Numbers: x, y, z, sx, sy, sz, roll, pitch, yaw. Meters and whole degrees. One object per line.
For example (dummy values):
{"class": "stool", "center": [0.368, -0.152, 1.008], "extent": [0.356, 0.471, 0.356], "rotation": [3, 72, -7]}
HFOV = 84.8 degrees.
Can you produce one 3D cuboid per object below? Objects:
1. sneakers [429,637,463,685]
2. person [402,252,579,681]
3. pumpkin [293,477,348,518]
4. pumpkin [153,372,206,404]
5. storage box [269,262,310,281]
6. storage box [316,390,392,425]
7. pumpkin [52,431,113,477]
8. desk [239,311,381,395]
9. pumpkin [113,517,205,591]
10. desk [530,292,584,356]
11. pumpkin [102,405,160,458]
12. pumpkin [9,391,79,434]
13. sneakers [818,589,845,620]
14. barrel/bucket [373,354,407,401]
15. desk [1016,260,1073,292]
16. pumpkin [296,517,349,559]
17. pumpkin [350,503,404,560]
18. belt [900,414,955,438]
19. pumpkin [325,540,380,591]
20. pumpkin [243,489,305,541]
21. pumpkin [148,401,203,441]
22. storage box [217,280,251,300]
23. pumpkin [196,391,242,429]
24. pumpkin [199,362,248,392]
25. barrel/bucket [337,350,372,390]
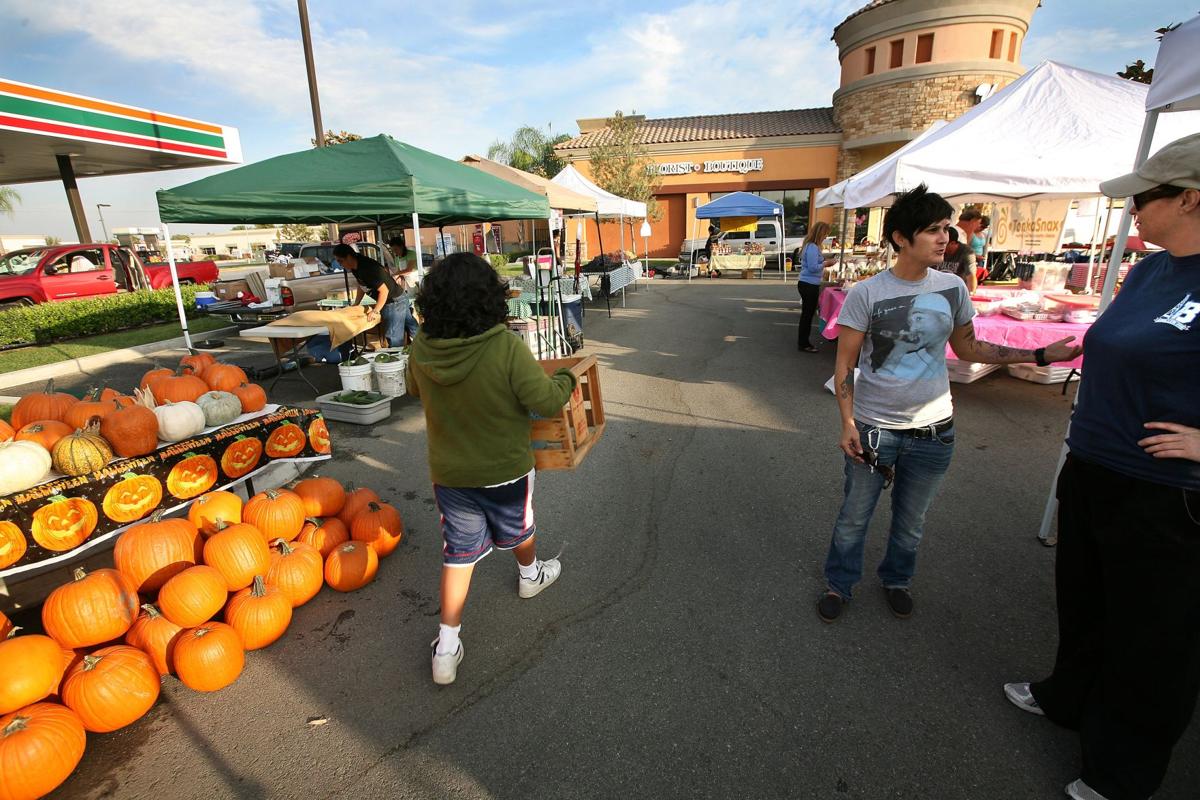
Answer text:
{"class": "sneakers", "center": [-0.942, 1.602, 4.041], "extent": [0.161, 0.113, 0.285], "rotation": [4, 57, -2]}
{"class": "person", "center": [-0.658, 0.431, 3.921], "extent": [0.850, 2.519, 0.669], "rotation": [-4, 20, -7]}
{"class": "pumpkin", "center": [-2.117, 0.721, 5.035], "extent": [0.328, 0.272, 0.311], "rotation": [-2, 13, -7]}
{"class": "pumpkin", "center": [-3.116, -0.078, 4.925], "extent": [0.248, 0.212, 0.240], "rotation": [-17, 7, 11]}
{"class": "storage box", "center": [-7.179, -3.015, 15.356], "extent": [0.970, 0.254, 1.014], "rotation": [12, 21, 25]}
{"class": "storage box", "center": [-2.846, 0.094, 7.624], "extent": [0.768, 0.289, 0.519], "rotation": [-2, 19, -2]}
{"class": "pumpkin", "center": [-3.224, 0.325, 4.236], "extent": [0.306, 0.278, 0.292], "rotation": [-4, 15, 8]}
{"class": "desk", "center": [-3.792, -0.870, 8.808], "extent": [1.274, 0.732, 2.179], "rotation": [8, 20, 12]}
{"class": "pumpkin", "center": [-2.826, 0.963, 4.319], "extent": [0.486, 0.410, 0.466], "rotation": [-17, 11, -28]}
{"class": "desk", "center": [-0.684, -1.166, 10.212], "extent": [0.738, 0.815, 1.297], "rotation": [-2, 17, 14]}
{"class": "pumpkin", "center": [-3.036, 0.201, 4.329], "extent": [0.343, 0.355, 0.322], "rotation": [-3, 9, -20]}
{"class": "pumpkin", "center": [-3.884, 0.097, 4.704], "extent": [0.360, 0.302, 0.342], "rotation": [-7, -8, 2]}
{"class": "sneakers", "center": [1.531, 1.364, 4.344], "extent": [0.112, 0.098, 0.249], "rotation": [1, 2, 27]}
{"class": "barrel/bucket", "center": [-2.520, -0.268, 7.924], "extent": [0.502, 0.552, 0.513], "rotation": [-3, 10, 0]}
{"class": "desk", "center": [5.543, -1.520, 8.097], "extent": [0.658, 0.348, 0.817], "rotation": [1, 8, 25]}
{"class": "pumpkin", "center": [-2.001, 1.011, 4.776], "extent": [0.283, 0.242, 0.266], "rotation": [6, -21, -31]}
{"class": "pumpkin", "center": [-1.688, 0.971, 5.101], "extent": [0.427, 0.389, 0.406], "rotation": [-13, 15, -20]}
{"class": "belt", "center": [2.050, 0.171, 4.078], "extent": [0.345, 0.127, 0.060], "rotation": [-3, 20, -6]}
{"class": "pumpkin", "center": [-1.749, 1.182, 4.675], "extent": [0.353, 0.289, 0.339], "rotation": [-10, 19, -8]}
{"class": "pumpkin", "center": [-2.274, 0.823, 4.783], "extent": [0.366, 0.317, 0.355], "rotation": [-10, 12, 14]}
{"class": "pumpkin", "center": [-2.884, 0.150, 4.567], "extent": [0.279, 0.254, 0.288], "rotation": [-15, 3, 44]}
{"class": "storage box", "center": [-7.482, -2.242, 13.516], "extent": [0.373, 0.321, 0.507], "rotation": [2, 23, 11]}
{"class": "pumpkin", "center": [-2.762, 0.054, 4.844], "extent": [0.266, 0.230, 0.259], "rotation": [-14, 18, -43]}
{"class": "pumpkin", "center": [-3.061, -0.194, 5.367], "extent": [0.303, 0.254, 0.286], "rotation": [-9, 24, -7]}
{"class": "barrel/bucket", "center": [-2.906, -0.333, 8.031], "extent": [0.413, 0.361, 0.407], "rotation": [-1, 11, 0]}
